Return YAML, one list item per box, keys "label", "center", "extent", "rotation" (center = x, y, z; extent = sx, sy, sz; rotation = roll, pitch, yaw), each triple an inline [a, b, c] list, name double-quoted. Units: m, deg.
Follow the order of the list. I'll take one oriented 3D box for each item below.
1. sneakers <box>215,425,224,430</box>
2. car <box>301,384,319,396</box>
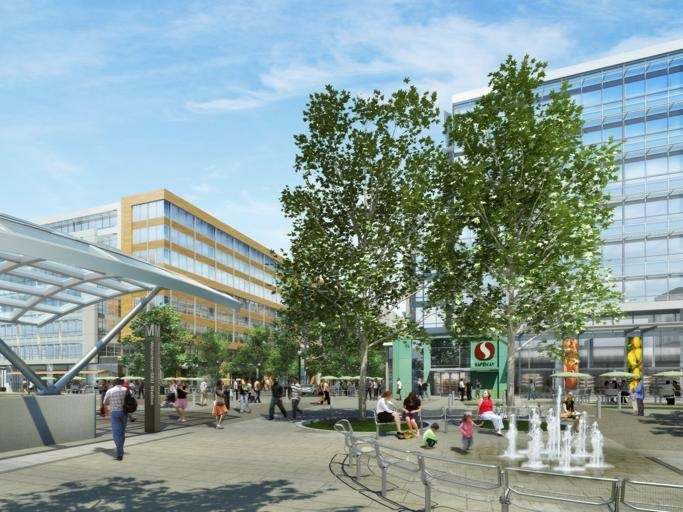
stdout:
- label: "sneakers"
  center: [-5.247, 7.307, 31.846]
  extent: [0.145, 0.135, 0.381]
  rotation: [1, -3, 28]
- label: "car"
  center: [-2.857, 11.842, 66.834]
  extent: [1.570, 0.937, 3.077]
  rotation: [0, -16, 0]
